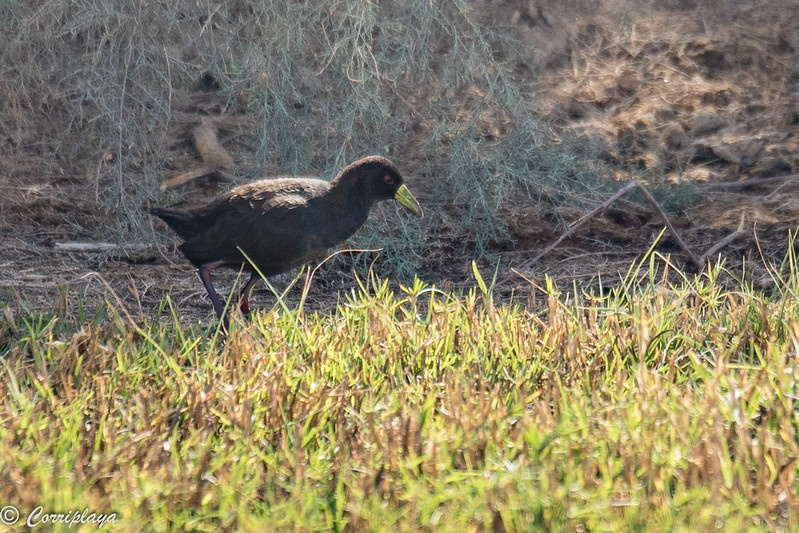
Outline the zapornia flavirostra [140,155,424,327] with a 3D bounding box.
[{"bbox_3d":[-0.717,-0.363,7.359,1.955,1.253,0.863,14,10,-8],"label":"zapornia flavirostra"}]
